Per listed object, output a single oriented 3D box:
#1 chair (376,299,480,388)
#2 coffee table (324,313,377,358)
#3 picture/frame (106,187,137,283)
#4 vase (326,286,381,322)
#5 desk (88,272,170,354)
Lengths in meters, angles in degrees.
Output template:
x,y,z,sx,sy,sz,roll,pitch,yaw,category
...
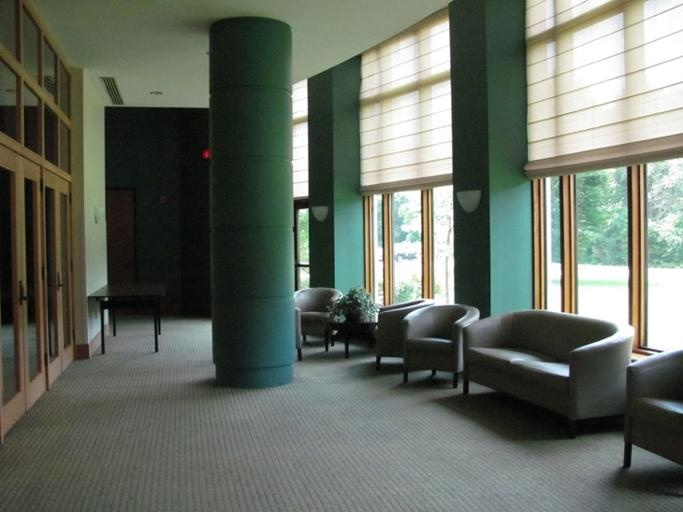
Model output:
x,y,z,sx,sy,sz,roll,pitch,yaw,category
1.209,1.092,7.225,1.085,0.981,1.043,-2,-6,36,chair
0.136,1.186,8.332,0.659,0.383,0.658,1,-2,-28,coffee table
-5.391,-0.492,13.164,0.716,2.286,0.405,-3,7,-22,picture/frame
0.224,0.790,8.287,0.573,0.402,0.585,0,-8,10,vase
-3.637,1.044,9.419,1.097,1.001,1.998,-1,4,-15,desk
